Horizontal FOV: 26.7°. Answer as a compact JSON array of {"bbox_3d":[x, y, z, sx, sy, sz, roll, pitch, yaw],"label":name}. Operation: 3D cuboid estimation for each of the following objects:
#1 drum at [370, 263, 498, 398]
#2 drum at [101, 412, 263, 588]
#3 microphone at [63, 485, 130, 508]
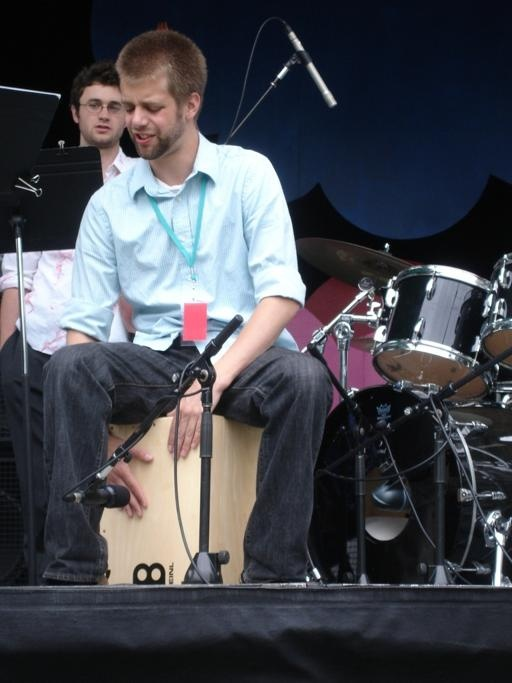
[{"bbox_3d":[0.553,-0.019,3.304,0.379,0.302,0.348,12,-29,7],"label":"drum"},{"bbox_3d":[-0.185,0.363,2.435,0.356,0.413,0.267,7,6,0],"label":"drum"},{"bbox_3d":[-0.290,0.290,2.026,0.042,0.038,0.144,-1,-5,41],"label":"microphone"}]
